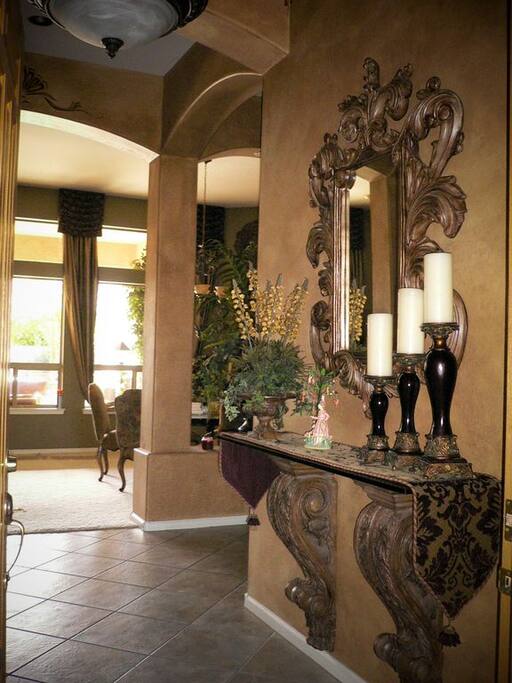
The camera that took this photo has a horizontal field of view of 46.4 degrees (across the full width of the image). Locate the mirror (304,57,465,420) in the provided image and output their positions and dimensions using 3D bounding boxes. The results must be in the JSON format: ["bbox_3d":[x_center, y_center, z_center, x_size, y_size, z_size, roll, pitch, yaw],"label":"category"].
[{"bbox_3d":[0.446,-0.424,2.341,0.149,1.403,1.036,3,-4,-17],"label":"mirror"}]

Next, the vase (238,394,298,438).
[{"bbox_3d":[0.048,0.322,2.591,0.213,0.134,0.202,2,-7,-19],"label":"vase"}]

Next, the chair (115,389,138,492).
[{"bbox_3d":[-1.450,1.101,6.650,0.275,1.125,0.525,3,-4,-11],"label":"chair"}]

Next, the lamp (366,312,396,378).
[{"bbox_3d":[0.391,0.015,1.895,0.076,0.200,0.041,1,-4,12],"label":"lamp"}]

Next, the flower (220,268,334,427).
[{"bbox_3d":[0.066,0.045,2.641,0.472,0.549,0.319,15,-8,17],"label":"flower"}]
